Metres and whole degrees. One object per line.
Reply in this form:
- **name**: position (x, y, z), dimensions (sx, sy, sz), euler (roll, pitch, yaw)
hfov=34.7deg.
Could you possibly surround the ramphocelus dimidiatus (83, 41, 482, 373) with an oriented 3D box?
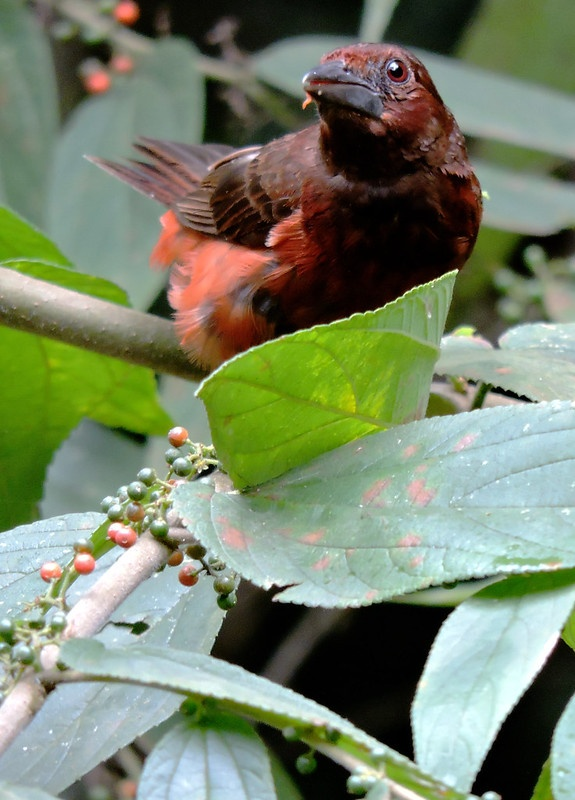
- **ramphocelus dimidiatus**: position (0.016, -0.515, 2.322), dimensions (0.743, 0.690, 1.054), euler (-11, 26, -23)
